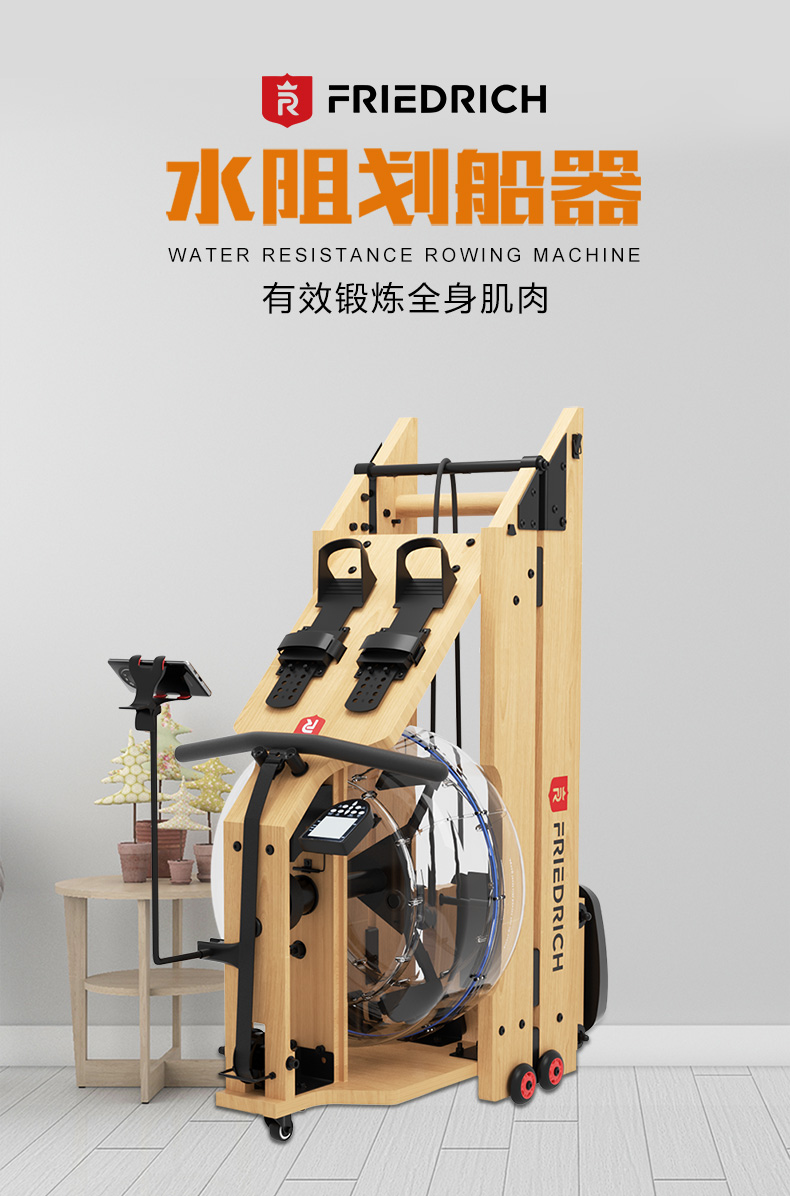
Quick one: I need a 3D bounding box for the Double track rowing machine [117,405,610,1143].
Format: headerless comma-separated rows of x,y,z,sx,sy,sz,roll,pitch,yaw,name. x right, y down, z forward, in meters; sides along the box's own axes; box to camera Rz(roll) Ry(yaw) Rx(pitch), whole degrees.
-0.034,0.284,2.016,0.811,1.057,0.576,0,0,-31,Double track rowing machine

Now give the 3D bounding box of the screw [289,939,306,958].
-0.143,0.522,1.793,0.029,0.030,0.026,6,-6,-16,screw

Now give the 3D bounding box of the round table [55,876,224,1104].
-0.562,0.932,2.885,0.394,0.467,0.407,-2,-11,0,round table

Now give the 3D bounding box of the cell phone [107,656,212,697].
-0.355,0.123,1.810,0.137,0.065,0.159,1,-6,-16,cell phone
